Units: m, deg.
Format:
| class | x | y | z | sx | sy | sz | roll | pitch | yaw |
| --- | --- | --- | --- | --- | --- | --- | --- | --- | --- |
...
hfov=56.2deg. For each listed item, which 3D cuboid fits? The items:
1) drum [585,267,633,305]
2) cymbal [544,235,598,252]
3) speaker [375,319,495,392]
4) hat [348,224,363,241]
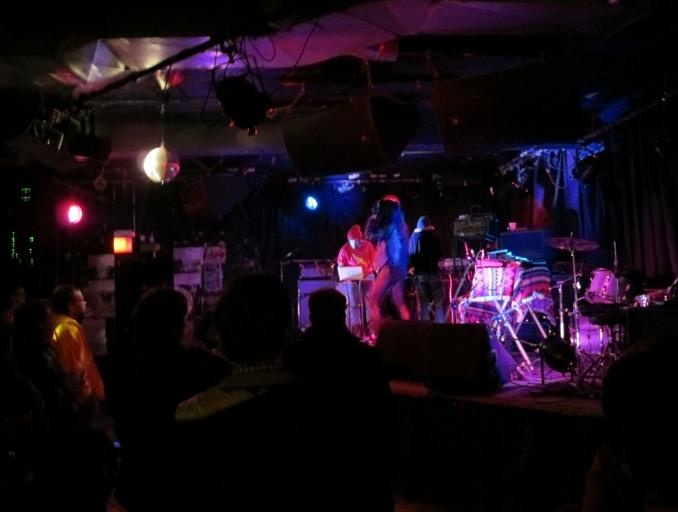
| class | x | y | z | sx | sy | sz | roll | pitch | yaw |
| --- | --- | --- | --- | --- | --- | --- | --- | --- | --- |
| drum | 2.833 | 0.343 | 6.769 | 0.403 | 0.388 | 0.385 | 1 | -9 | -4 |
| cymbal | 2.581 | -0.128 | 7.120 | 0.451 | 0.169 | 0.358 | 2 | -3 | -14 |
| speaker | 0.848 | 0.832 | 5.344 | 0.764 | 0.409 | 0.652 | -8 | -26 | 26 |
| hat | 0.209 | -0.317 | 8.718 | 0.187 | 0.177 | 0.263 | 0 | -8 | 2 |
